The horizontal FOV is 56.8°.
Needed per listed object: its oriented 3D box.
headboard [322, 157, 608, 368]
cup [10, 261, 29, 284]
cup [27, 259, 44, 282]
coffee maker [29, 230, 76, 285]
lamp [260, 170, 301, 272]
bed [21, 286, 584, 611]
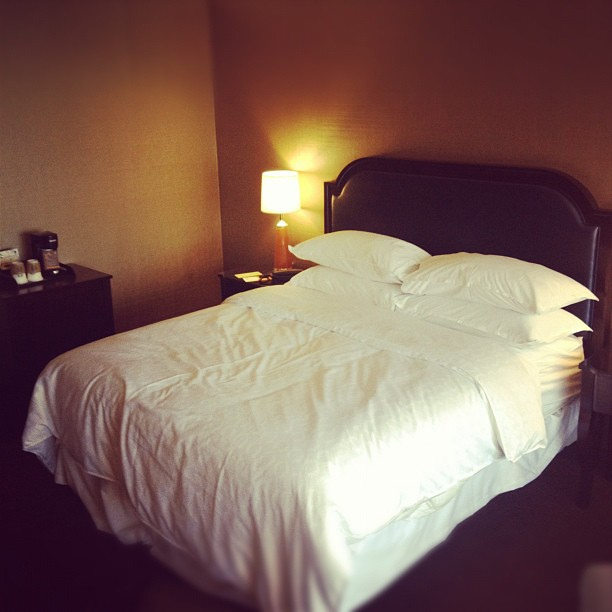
[{"bbox_3d":[0.813,-0.199,2.743,0.055,0.661,1.208,-19,24,-41],"label":"headboard"},{"bbox_3d":[-1.677,-0.195,3.315,0.064,0.068,0.191,-17,30,-37],"label":"cup"},{"bbox_3d":[-1.603,-0.222,3.403,0.137,0.119,0.121,-6,20,-20],"label":"cup"},{"bbox_3d":[-1.567,-0.307,3.538,0.196,0.286,0.258,3,-6,5],"label":"coffee maker"},{"bbox_3d":[-0.167,-0.602,4.010,0.271,0.697,0.327,-2,16,-1],"label":"lamp"},{"bbox_3d":[0.018,0.484,2.485,1.649,0.735,1.699,12,19,42],"label":"bed"}]
